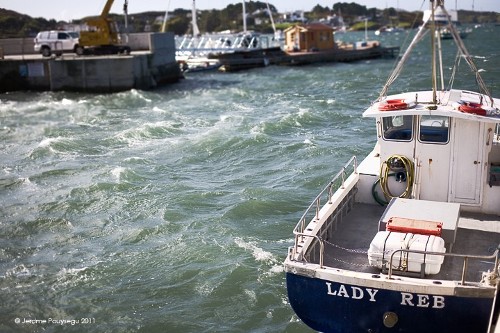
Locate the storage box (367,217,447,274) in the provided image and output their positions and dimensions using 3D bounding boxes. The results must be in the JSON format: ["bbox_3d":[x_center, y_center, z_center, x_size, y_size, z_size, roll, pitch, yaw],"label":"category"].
[{"bbox_3d":[6.824,3.541,37.129,3.012,2.316,1.621,1,10,10],"label":"storage box"}]

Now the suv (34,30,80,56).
[{"bbox_3d":[-14.397,-9.542,66.659,4.310,1.920,2.250,0,10,8],"label":"suv"}]
